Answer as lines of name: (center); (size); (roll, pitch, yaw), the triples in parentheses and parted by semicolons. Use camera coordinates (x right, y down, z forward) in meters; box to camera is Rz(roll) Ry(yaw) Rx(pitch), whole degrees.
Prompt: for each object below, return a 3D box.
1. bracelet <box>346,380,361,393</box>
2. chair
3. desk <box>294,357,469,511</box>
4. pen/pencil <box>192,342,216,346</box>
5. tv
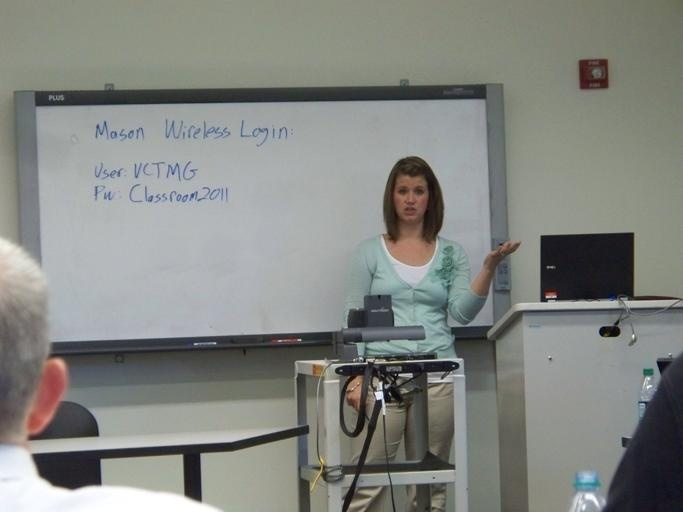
bracelet: (0.053, 0.569, 3.563); (0.037, 0.066, 0.015); (-2, -35, 48)
chair: (-1.082, 0.757, 3.311); (0.156, 0.356, 0.183); (-5, 8, -5)
desk: (0.135, 0.807, 3.777); (0.706, 1.154, 0.590); (1, -6, -5)
pen/pencil: (-0.723, 0.455, 4.169); (0.076, 0.029, 0.017); (1, 2, -6)
tv: (1.093, 0.045, 3.582); (0.413, 0.299, 0.091); (1, 1, -8)
